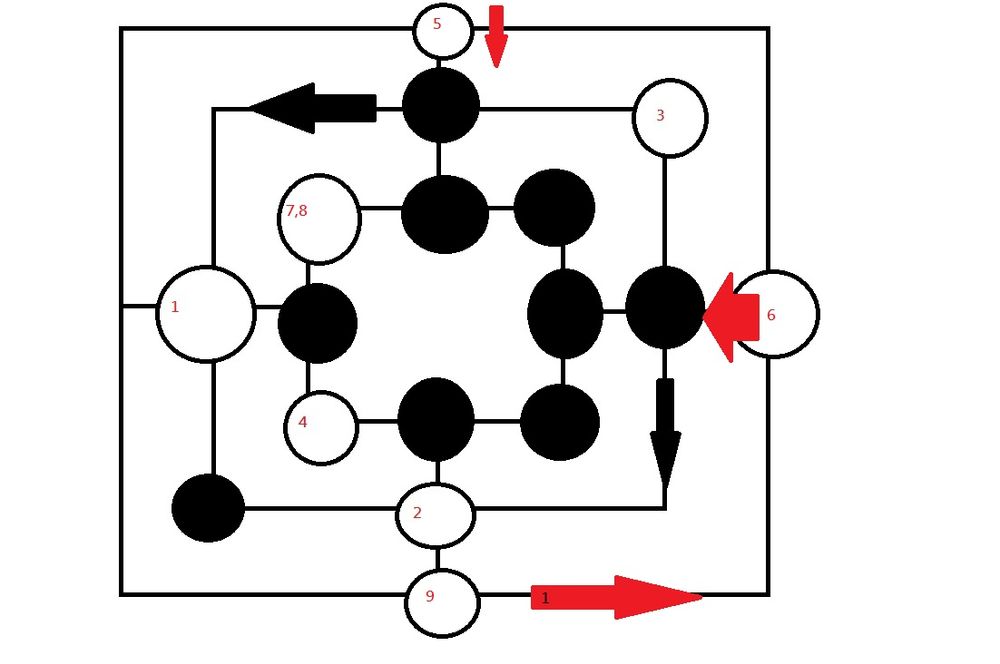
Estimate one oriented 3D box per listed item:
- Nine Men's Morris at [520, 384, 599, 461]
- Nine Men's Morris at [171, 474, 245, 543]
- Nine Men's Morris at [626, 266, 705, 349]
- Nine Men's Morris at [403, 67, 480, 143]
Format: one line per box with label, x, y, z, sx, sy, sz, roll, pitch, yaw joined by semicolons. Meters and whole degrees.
Nine Men's Morris;0.341;0.535;9.969;0.457;0.171;0.439;9;-83;-2
Nine Men's Morris;-1.739;1.038;10.009;0.416;0.158;0.394;-2;-83;-1
Nine Men's Morris;0.963;-0.134;9.969;0.462;0.136;0.480;-20;-83;1
Nine Men's Morris;-0.361;-1.316;9.993;0.460;0.144;0.438;-18;-83;1
